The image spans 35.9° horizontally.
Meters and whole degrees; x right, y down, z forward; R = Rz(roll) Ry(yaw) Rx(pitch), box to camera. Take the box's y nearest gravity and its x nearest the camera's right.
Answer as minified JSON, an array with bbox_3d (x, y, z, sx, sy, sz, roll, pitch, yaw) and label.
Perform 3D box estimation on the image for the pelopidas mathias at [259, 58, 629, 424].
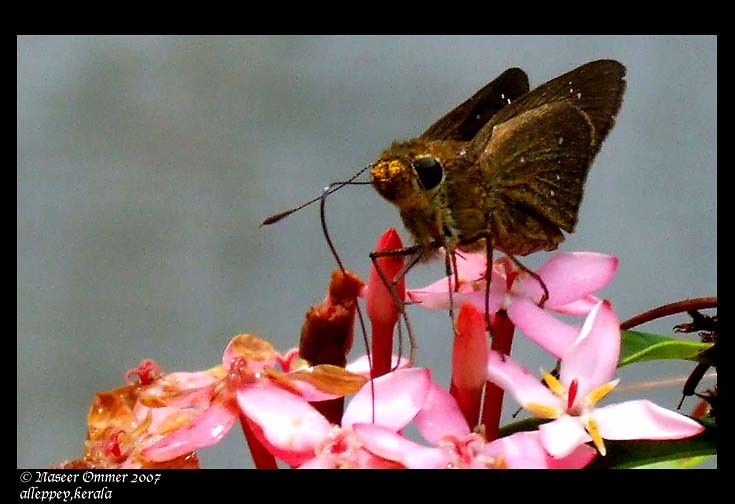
[{"bbox_3d":[0.143,-0.107,1.853,0.516,0.439,0.281,4,-1,-17],"label":"pelopidas mathias"}]

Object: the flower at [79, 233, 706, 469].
[{"bbox_3d":[0.023,0.166,1.736,0.953,0.370,0.208,-8,-1,-1],"label":"flower"}]
